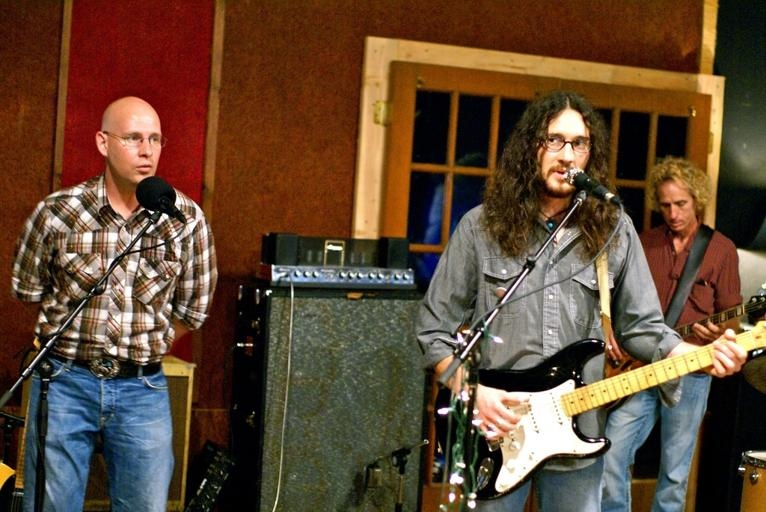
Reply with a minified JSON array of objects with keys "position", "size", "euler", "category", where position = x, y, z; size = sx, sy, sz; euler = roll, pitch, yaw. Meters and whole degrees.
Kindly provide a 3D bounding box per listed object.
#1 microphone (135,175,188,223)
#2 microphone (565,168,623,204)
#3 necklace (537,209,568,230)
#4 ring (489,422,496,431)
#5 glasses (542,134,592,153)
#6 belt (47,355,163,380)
[{"position":[-1.027,-0.247,3.725],"size":[0.309,0.132,0.147],"euler":[39,15,18],"category":"microphone"},{"position":[0.890,-0.310,3.411],"size":[0.096,0.119,0.391],"euler":[-6,17,-9],"category":"microphone"},{"position":[0.778,-0.164,3.657],"size":[0.072,0.057,0.123],"euler":[4,-10,4],"category":"necklace"},{"position":[0.475,0.744,3.456],"size":[0.032,0.024,0.009],"euler":[1,-4,6],"category":"ring"},{"position":[0.824,-0.496,3.581],"size":[0.198,0.080,0.050],"euler":[1,-4,7],"category":"glasses"},{"position":[-1.334,0.533,3.824],"size":[0.502,0.110,0.099],"euler":[2,-4,-8],"category":"belt"}]
